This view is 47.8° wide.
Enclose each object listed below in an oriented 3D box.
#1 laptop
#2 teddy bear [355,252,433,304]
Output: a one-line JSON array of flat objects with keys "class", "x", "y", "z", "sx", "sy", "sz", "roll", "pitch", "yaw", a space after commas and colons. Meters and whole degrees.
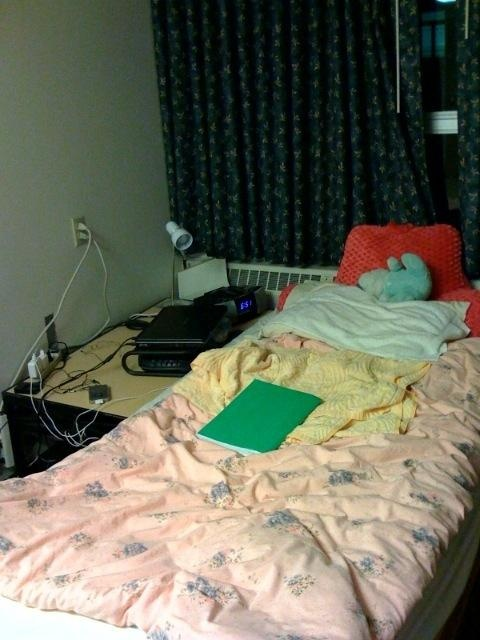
[{"class": "laptop", "x": -0.226, "y": 0.024, "z": 2.099, "sx": 0.187, "sy": 0.055, "sz": 0.276, "roll": 4, "pitch": 24, "yaw": 15}, {"class": "teddy bear", "x": 0.563, "y": -0.154, "z": 1.993, "sx": 0.209, "sy": 0.080, "sz": 0.207, "roll": 10, "pitch": 45, "yaw": 43}]
